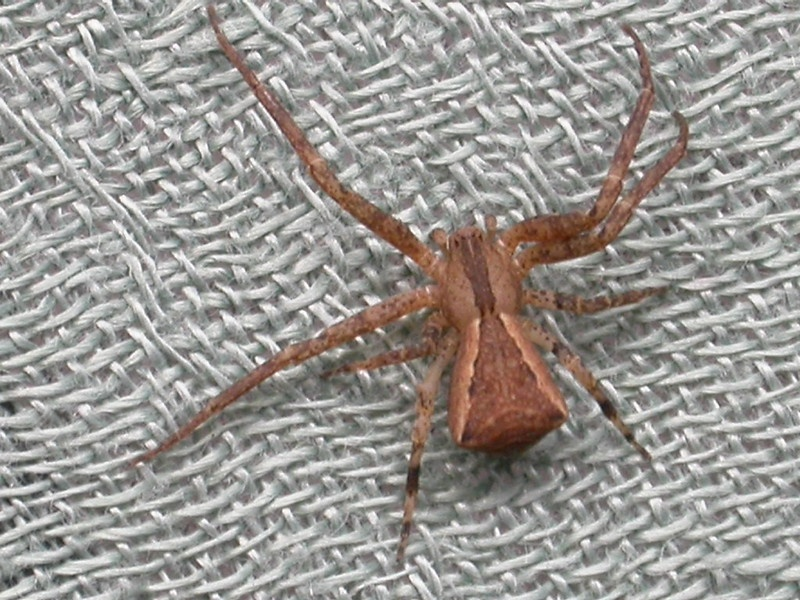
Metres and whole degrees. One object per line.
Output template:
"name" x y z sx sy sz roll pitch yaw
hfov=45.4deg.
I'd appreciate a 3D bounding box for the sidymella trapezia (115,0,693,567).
"sidymella trapezia" 0.030 -0.026 0.734 0.378 0.067 0.446 13 85 3
